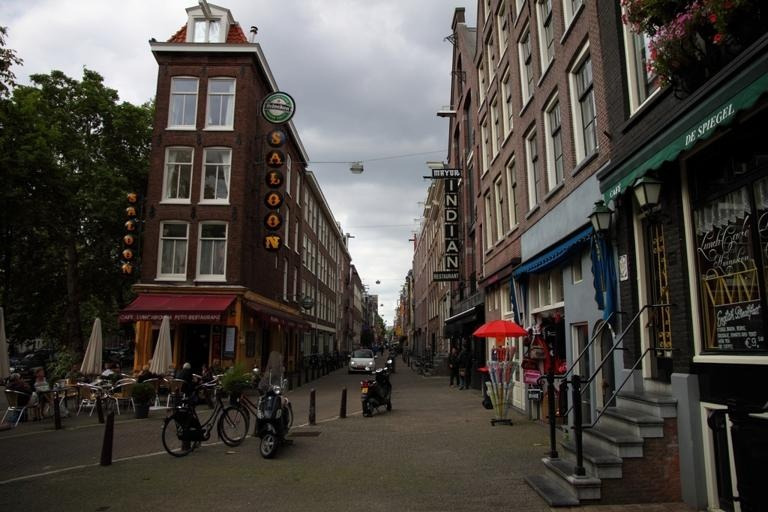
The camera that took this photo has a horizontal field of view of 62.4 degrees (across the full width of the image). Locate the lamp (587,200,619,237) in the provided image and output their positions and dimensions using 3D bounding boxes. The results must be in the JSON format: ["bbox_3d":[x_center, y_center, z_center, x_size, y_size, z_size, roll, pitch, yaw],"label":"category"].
[{"bbox_3d":[5.100,-0.964,15.074,0.618,0.847,0.652,-9,-15,32],"label":"lamp"}]

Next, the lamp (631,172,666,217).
[{"bbox_3d":[5.561,-1.356,13.381,0.555,0.881,0.553,0,-6,-12],"label":"lamp"}]

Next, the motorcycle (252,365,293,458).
[{"bbox_3d":[-2.792,3.869,15.792,0.724,1.947,1.503,-1,-4,-2],"label":"motorcycle"}]

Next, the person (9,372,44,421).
[{"bbox_3d":[-11.495,4.514,20.399,1.095,1.520,0.918,2,-4,-36],"label":"person"}]

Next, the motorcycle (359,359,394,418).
[{"bbox_3d":[-0.239,4.598,21.567,0.841,1.471,2.282,-1,-4,9],"label":"motorcycle"}]
